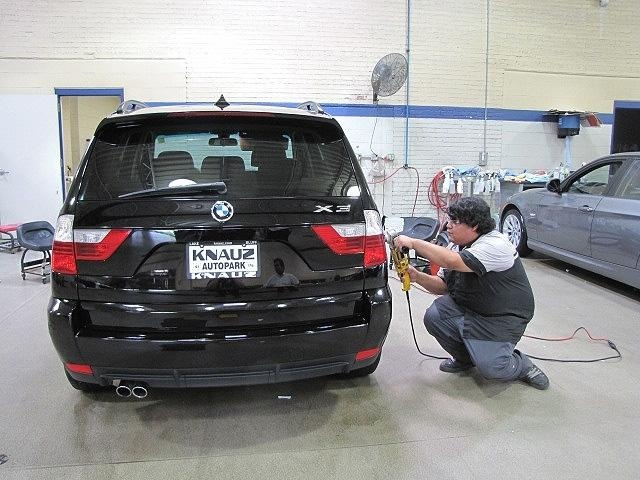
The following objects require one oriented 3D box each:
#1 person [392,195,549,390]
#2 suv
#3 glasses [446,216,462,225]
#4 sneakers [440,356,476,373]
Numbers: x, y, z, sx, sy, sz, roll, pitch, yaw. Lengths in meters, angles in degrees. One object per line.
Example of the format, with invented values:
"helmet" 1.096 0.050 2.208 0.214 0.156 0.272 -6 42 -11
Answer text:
"person" 1.037 0.338 3.114 0.970 1.259 0.484 0 13 7
"suv" -0.752 0.142 3.956 2.011 1.380 3.305 0 1 -8
"glasses" 0.887 -0.129 3.019 0.047 0.053 0.054 -26 40 -31
"sneakers" 0.953 0.891 3.275 0.264 0.091 0.087 3 4 0
